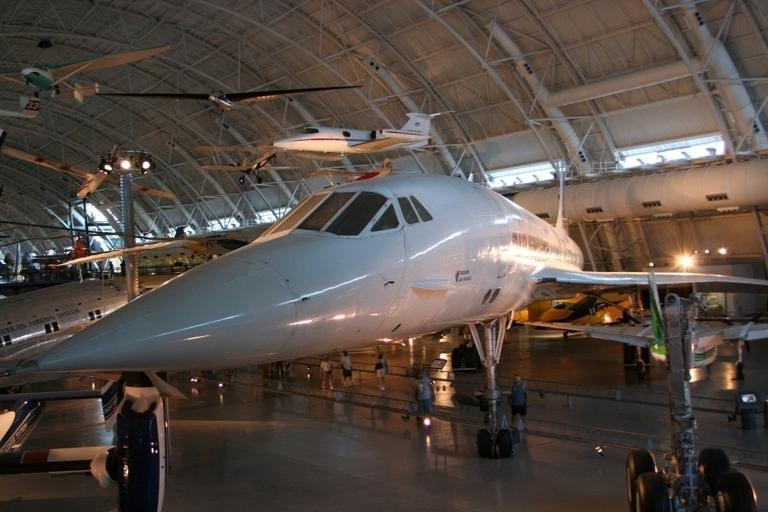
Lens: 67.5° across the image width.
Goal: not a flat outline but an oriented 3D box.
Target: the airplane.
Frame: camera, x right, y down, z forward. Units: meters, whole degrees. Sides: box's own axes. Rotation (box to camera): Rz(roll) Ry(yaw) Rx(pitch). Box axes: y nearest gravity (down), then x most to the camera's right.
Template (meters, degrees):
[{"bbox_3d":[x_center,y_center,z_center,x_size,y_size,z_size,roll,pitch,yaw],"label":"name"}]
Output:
[{"bbox_3d":[0.734,0.562,11.310,12.198,3.120,11.236,-2,-4,34],"label":"airplane"}]
